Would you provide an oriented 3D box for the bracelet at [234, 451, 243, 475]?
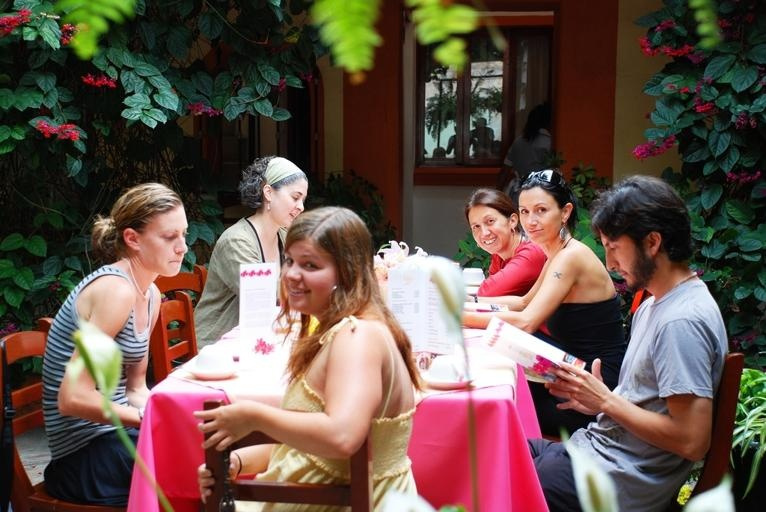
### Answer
[{"bbox_3d":[-0.471,0.679,2.026,0.019,0.082,0.057,6,-10,-16],"label":"bracelet"}]

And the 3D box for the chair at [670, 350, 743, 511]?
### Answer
[{"bbox_3d":[1.140,0.591,2.107,0.140,0.540,0.164,1,5,28],"label":"chair"}]

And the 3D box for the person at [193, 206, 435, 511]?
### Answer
[{"bbox_3d":[-0.114,0.356,2.268,0.802,1.227,0.857,3,-7,5],"label":"person"}]

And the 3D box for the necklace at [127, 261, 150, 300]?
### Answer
[{"bbox_3d":[-1.022,0.101,2.552,0.034,0.130,0.097,-24,-2,-5],"label":"necklace"}]
